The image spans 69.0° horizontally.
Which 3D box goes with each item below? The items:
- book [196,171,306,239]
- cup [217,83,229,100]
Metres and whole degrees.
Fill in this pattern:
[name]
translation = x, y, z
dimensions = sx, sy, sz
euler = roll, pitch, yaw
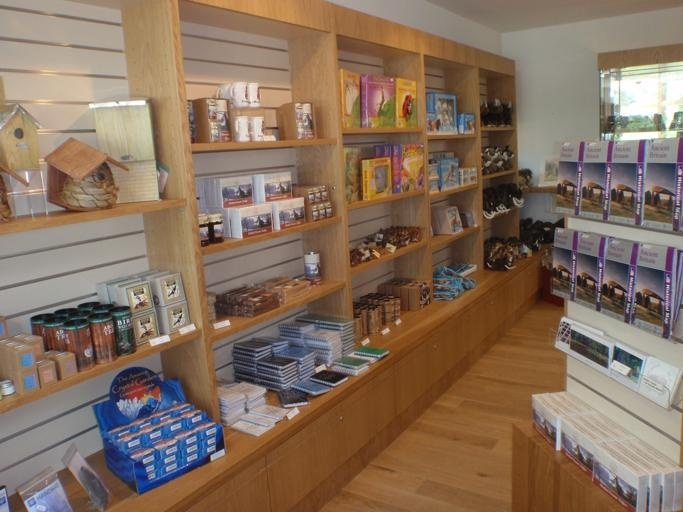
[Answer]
[book]
translation = -0.545, -0.349, 3.307
dimensions = 0.696, 0.381, 0.346
euler = -12, 14, -31
[cup]
translation = -0.762, -1.048, 3.209
dimensions = 0.086, 0.089, 0.156
euler = -7, 13, -13
